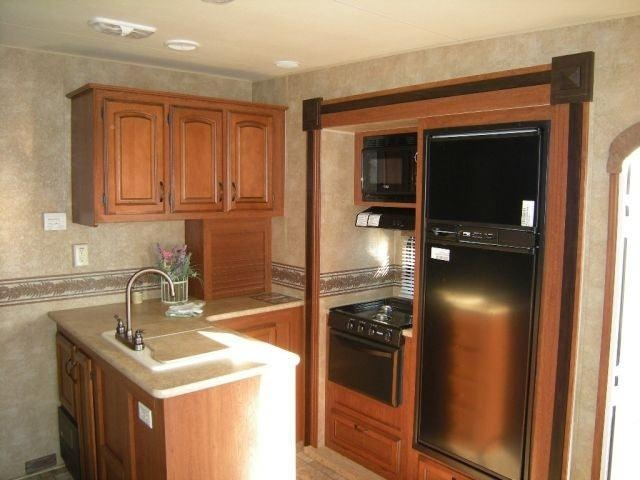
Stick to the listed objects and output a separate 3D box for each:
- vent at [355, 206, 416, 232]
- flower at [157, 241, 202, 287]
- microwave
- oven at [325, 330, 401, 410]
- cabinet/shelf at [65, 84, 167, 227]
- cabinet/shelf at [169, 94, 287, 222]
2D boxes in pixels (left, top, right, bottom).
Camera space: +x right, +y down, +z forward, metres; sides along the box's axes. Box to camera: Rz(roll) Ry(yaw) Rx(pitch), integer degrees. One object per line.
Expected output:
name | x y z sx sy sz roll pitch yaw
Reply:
vent | 0.521 -0.172 4.032 0.588 0.174 0.170 3 7 42
flower | -1.186 0.244 3.983 0.407 0.351 0.305 -4 -6 17
microwave | 0.636 -0.563 3.948 0.297 0.505 0.612 -9 11 -42
oven | 0.324 0.959 3.803 0.452 0.456 0.739 1 3 -39
cabinet/shelf | -1.524 -0.579 3.588 0.733 0.944 0.398 1 6 16
cabinet/shelf | -0.877 -0.625 4.077 0.416 0.901 1.125 9 11 41
